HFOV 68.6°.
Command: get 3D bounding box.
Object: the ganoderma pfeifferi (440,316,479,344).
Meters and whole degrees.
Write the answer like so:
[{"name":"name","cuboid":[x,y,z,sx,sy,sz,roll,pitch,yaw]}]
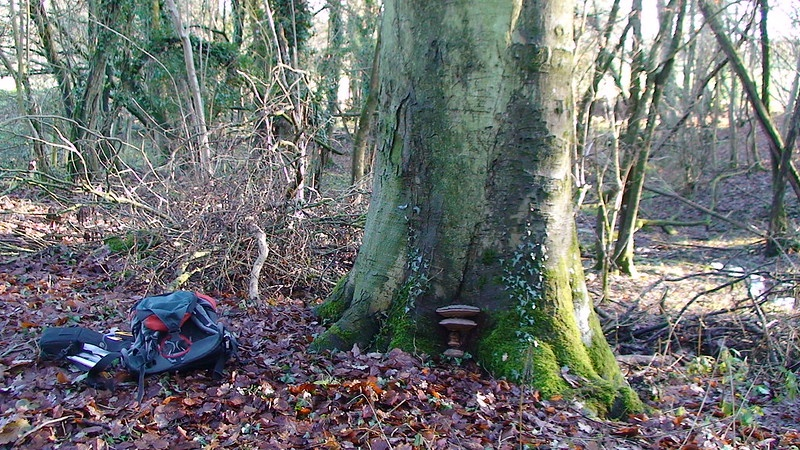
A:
[{"name":"ganoderma pfeifferi","cuboid":[0.910,1.592,9.118,0.486,0.379,0.466,0,0,-20]}]
